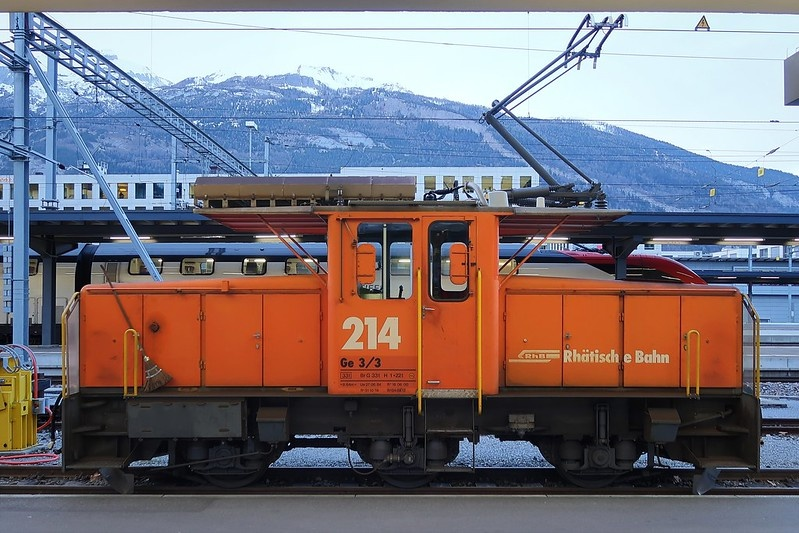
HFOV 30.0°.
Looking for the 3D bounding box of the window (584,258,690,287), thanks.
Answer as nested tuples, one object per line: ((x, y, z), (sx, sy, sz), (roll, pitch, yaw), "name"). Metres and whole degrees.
((15.794, 0.410, 99.749), (8.591, 1.838, 1.415), (2, 12, 4), "window")

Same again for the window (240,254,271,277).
((-9.643, -0.044, 101.010), (1.837, 1.114, 0.218), (0, -4, 7), "window")
